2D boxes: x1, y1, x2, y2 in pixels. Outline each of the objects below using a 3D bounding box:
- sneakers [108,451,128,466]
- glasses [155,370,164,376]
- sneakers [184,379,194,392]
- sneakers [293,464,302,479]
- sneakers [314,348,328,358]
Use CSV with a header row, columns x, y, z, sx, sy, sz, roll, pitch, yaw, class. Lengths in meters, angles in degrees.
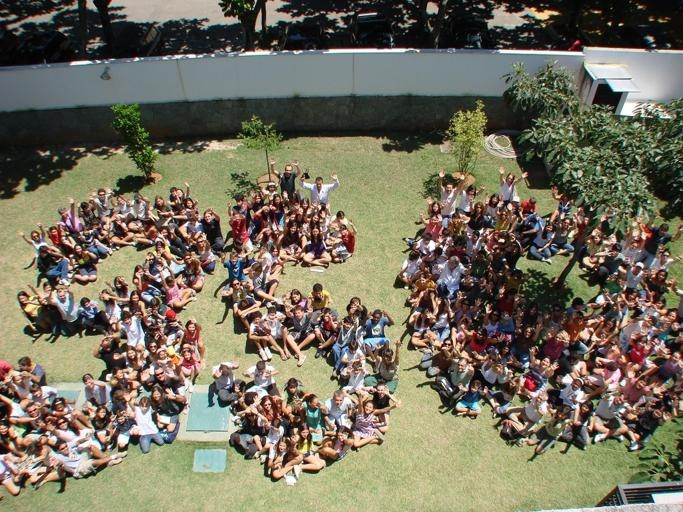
x,y,z,sx,sy,sz,roll,pitch,yaw,class
-5.691,5.116,13.484,0.466,0.203,0.192,-25,79,-5,sneakers
-4.737,3.009,13.859,0.195,0.129,0.165,-23,51,-21,glasses
-4.149,3.501,14.466,0.158,0.152,0.354,-22,89,-15,sneakers
-1.096,5.366,13.292,0.116,0.140,0.321,-1,74,-2,sneakers
-0.588,2.772,15.142,0.423,0.182,0.146,-47,48,-3,sneakers
